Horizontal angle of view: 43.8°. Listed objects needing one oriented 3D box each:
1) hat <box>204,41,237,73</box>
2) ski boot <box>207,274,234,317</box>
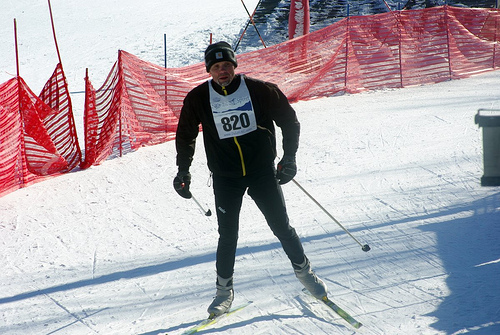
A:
[{"bbox_3d":[-0.368,-1.356,7.555,0.423,0.295,0.400,-6,-4,-16],"label":"hat"},{"bbox_3d":[-0.365,1.565,7.749,0.279,0.406,0.645,8,12,11],"label":"ski boot"}]
